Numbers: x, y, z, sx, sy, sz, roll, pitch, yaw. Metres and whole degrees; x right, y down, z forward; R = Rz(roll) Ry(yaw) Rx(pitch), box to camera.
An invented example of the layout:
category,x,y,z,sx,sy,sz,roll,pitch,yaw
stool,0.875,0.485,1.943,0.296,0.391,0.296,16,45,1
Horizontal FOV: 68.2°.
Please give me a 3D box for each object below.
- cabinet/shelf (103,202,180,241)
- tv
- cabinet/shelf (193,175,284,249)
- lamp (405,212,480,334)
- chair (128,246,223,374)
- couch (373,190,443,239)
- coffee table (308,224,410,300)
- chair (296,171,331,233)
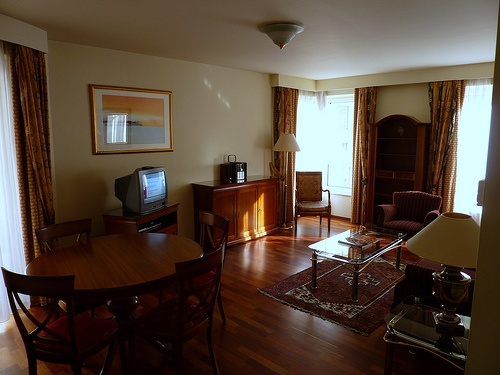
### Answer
category,x,y,z,sx,sy,sz,roll,pitch,yaw
cabinet/shelf,-1.428,0.255,4.841,0.429,0.555,0.783,4,10,22
tv,-1.342,-0.007,4.987,0.547,0.759,0.787,2,7,17
cabinet/shelf,-0.190,0.401,6.450,1.600,1.051,0.549,-7,11,-43
lamp,1.431,0.647,2.822,0.478,0.868,0.438,5,12,32
chair,-0.593,1.066,3.217,0.743,1.137,0.830,0,10,4
couch,2.556,0.382,6.062,0.924,0.985,0.829,6,7,40
coffee table,1.318,1.149,4.839,0.722,0.501,1.168,11,17,43
chair,1.119,0.216,6.925,0.702,1.014,0.805,-1,5,-9
